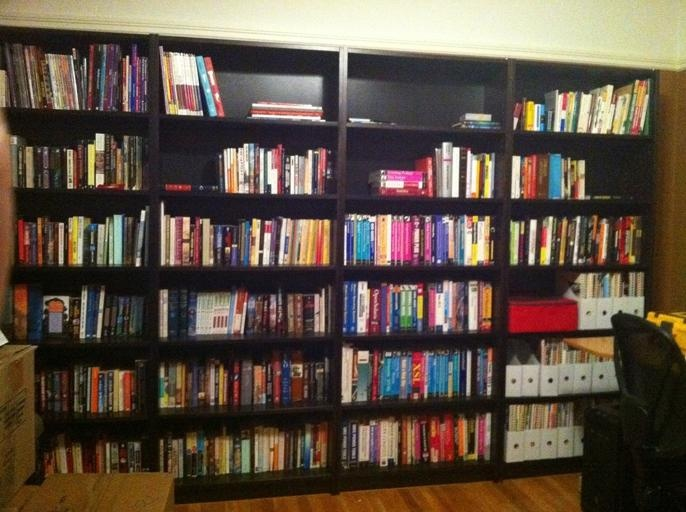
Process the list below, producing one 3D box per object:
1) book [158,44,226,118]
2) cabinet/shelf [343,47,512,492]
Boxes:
[{"bbox_3d":[-0.908,-1.033,4.090,0.428,0.416,0.179,-2,2,-22],"label":"book"},{"bbox_3d":[0.599,-0.126,4.555,1.353,3.281,0.379,-4,-19,11],"label":"cabinet/shelf"}]
